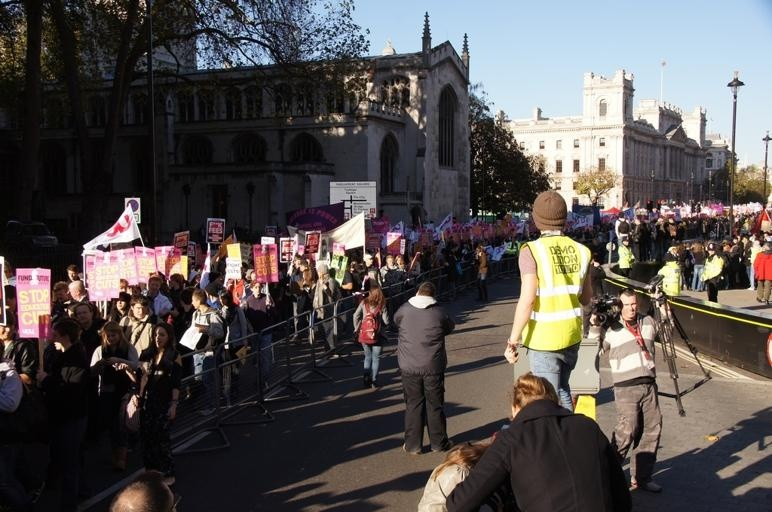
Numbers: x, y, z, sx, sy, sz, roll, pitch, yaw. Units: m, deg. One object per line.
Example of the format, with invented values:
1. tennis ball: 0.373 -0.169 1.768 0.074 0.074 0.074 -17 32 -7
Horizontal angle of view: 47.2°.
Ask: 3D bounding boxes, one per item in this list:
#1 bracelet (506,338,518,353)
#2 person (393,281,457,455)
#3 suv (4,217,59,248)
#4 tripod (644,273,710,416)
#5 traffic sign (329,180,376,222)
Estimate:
1. bracelet: 1.973 1.363 13.747 0.164 0.221 0.280 1 12 8
2. person: 0.741 2.128 17.104 1.042 3.098 1.113 0 10 4
3. suv: -16.322 -1.066 40.209 2.731 1.654 1.743 0 3 26
4. tripod: 6.124 1.699 18.852 1.281 2.690 1.287 -19 -1 -13
5. traffic sign: -1.388 -2.260 35.630 1.873 1.826 0.257 -1 31 -5
